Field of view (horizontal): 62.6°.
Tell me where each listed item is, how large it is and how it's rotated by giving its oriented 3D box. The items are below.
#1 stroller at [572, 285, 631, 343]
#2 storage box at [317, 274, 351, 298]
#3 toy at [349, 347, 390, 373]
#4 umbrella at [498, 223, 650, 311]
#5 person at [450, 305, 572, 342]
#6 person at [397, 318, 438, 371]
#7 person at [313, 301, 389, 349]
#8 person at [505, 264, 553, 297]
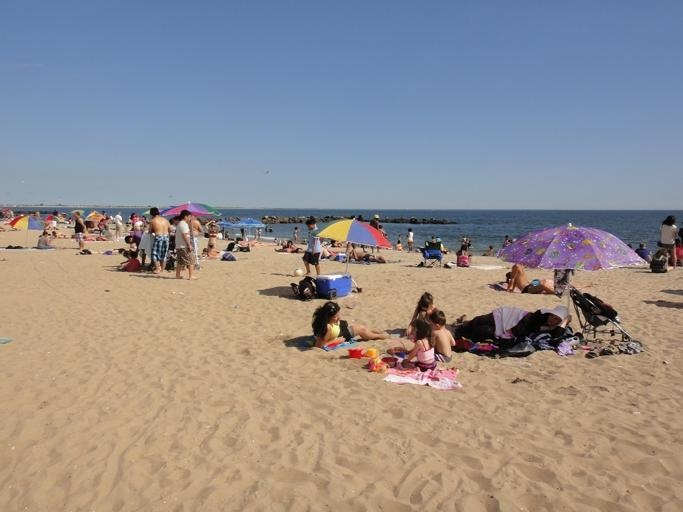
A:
[{"bbox_3d":[4.132,0.960,8.975,1.054,0.661,0.617,10,-4,25],"label":"stroller"},{"bbox_3d":[-0.155,0.630,12.018,0.491,0.336,0.706,-1,-1,36],"label":"storage box"},{"bbox_3d":[0.417,1.487,8.239,0.499,0.210,0.832,0,4,-21],"label":"toy"},{"bbox_3d":[3.592,0.036,8.924,2.143,0.965,1.773,0,17,8],"label":"umbrella"},{"bbox_3d":[2.746,1.141,9.199,1.158,0.605,2.017,12,-9,-42],"label":"person"},{"bbox_3d":[1.032,1.253,8.050,0.636,0.688,0.705,7,-2,31],"label":"person"},{"bbox_3d":[0.111,1.117,8.997,1.383,0.554,0.555,2,14,-22],"label":"person"},{"bbox_3d":[4.310,0.582,13.007,0.813,0.348,1.034,0,12,-41],"label":"person"}]
